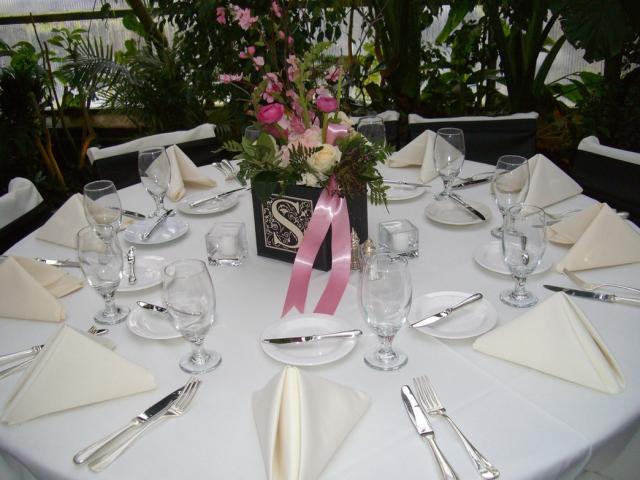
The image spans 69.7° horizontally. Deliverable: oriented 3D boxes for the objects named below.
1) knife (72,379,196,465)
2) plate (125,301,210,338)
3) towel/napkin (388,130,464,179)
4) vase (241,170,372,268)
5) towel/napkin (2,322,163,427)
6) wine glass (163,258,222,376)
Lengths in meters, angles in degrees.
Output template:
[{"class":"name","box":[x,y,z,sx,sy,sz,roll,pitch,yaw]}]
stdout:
[{"class":"knife","box":[-0.373,0.389,1.030,0.083,0.044,0.331,16,37,38]},{"class":"plate","box":[-0.457,0.231,1.274,0.128,0.022,0.145,12,22,5]},{"class":"towel/napkin","box":[0.565,-0.459,2.297,0.348,0.200,0.323,-23,22,-23]},{"class":"vase","box":[-0.082,-0.055,1.707,0.353,0.292,0.359,-6,12,-38]},{"class":"towel/napkin","box":[-0.566,0.317,1.052,0.197,0.089,0.211,-20,20,-39]},{"class":"wine glass","box":[-0.314,0.175,1.138,0.121,0.334,0.124,17,31,29]}]
